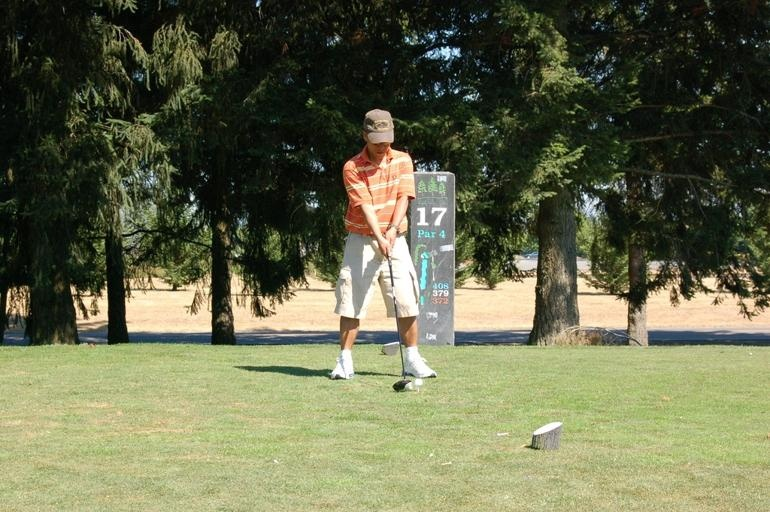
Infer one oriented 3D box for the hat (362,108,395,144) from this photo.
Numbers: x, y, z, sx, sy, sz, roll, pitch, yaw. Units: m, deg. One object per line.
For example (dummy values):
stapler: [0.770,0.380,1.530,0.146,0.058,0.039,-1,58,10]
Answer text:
hat: [-0.136,-2.174,20.658,0.370,0.327,0.586,-3,29,-10]
